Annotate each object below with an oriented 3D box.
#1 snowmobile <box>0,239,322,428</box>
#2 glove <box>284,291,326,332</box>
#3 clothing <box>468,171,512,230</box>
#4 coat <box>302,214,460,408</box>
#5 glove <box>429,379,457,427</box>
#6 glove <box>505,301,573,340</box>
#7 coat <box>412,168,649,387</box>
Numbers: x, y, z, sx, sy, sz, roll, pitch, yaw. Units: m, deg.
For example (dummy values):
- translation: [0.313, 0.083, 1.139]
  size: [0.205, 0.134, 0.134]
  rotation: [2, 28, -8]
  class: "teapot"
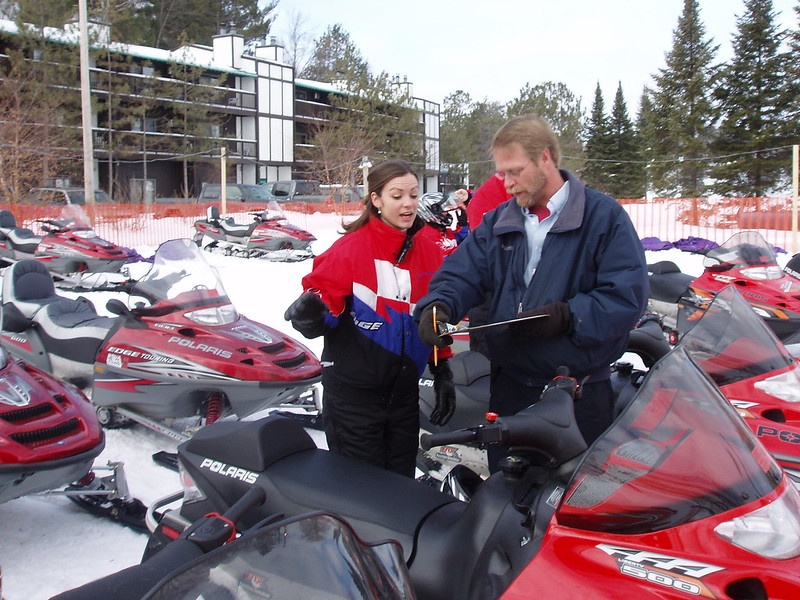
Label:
- translation: [-1.811, 0.261, 5.445]
  size: [3.705, 1.549, 1.283]
  rotation: [6, 20, 25]
  class: "snowmobile"
- translation: [-0.483, 0.064, 3.101]
  size: [0.220, 0.226, 0.141]
  rotation: [-3, 15, -5]
  class: "glove"
- translation: [0.829, -0.893, 5.366]
  size: [0.358, 0.468, 0.612]
  rotation: [3, 5, 5]
  class: "clothing"
- translation: [-0.111, 0.007, 3.475]
  size: [1.172, 0.955, 0.505]
  rotation: [3, 9, -43]
  class: "coat"
- translation: [0.250, 0.581, 3.377]
  size: [0.151, 0.245, 0.084]
  rotation: [0, -19, 3]
  class: "glove"
- translation: [0.665, 0.113, 2.793]
  size: [0.266, 0.188, 0.177]
  rotation: [0, 15, 8]
  class: "glove"
- translation: [0.677, -0.070, 3.069]
  size: [1.157, 1.010, 0.935]
  rotation: [2, 21, 26]
  class: "coat"
